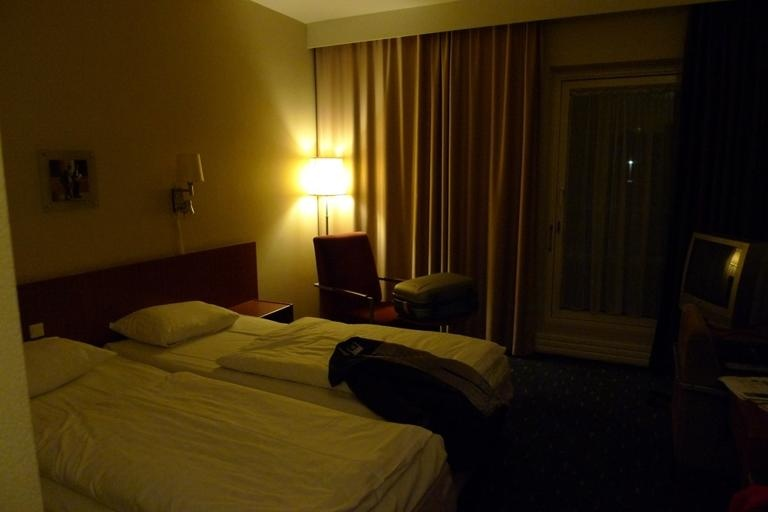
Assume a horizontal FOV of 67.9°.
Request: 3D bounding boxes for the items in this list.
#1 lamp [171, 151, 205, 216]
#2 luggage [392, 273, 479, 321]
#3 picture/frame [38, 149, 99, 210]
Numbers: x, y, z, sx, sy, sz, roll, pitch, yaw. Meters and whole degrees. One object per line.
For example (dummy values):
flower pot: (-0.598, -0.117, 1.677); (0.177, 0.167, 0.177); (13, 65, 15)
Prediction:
lamp: (-1.593, -0.578, 4.612); (0.268, 0.500, 0.376); (-3, 12, -17)
luggage: (0.392, 0.309, 4.292); (0.627, 0.285, 0.508); (-12, 12, -42)
picture/frame: (-2.206, -0.532, 3.940); (0.043, 0.416, 0.387); (3, 9, 34)
